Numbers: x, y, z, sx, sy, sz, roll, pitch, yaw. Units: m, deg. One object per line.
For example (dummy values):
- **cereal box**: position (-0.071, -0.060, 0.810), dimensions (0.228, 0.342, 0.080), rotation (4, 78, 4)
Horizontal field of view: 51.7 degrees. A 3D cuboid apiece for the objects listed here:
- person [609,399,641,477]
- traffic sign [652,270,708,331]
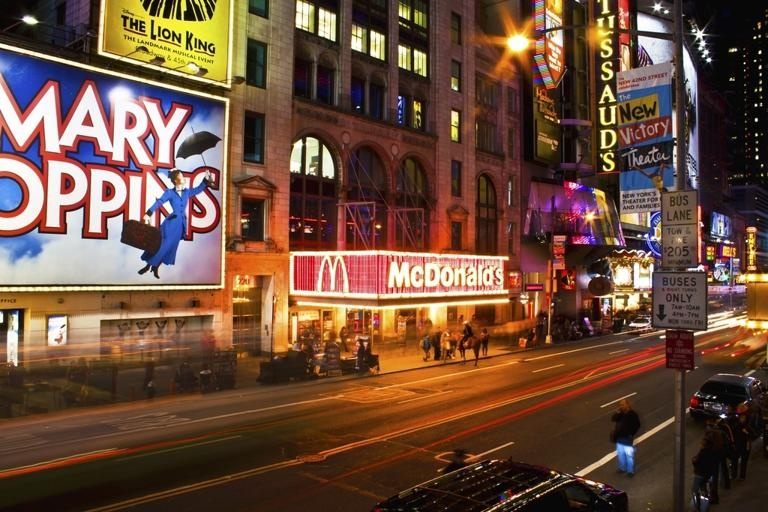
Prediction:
- **person**: position (11.034, 8.302, 36.249), dimensions (1.158, 3.392, 0.873), rotation (0, 3, 34)
- **traffic sign**: position (12.115, 1.829, 32.480), dimensions (2.211, 2.769, 0.289), rotation (-1, 1, 24)
